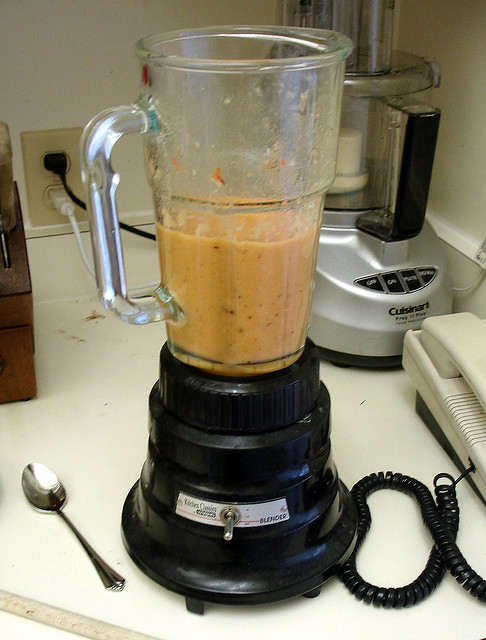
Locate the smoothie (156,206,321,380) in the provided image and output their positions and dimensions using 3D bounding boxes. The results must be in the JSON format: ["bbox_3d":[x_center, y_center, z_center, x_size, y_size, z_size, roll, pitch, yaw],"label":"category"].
[{"bbox_3d":[-0.013,-0.031,0.389,0.138,0.117,0.116,-6,22,-8],"label":"smoothie"}]

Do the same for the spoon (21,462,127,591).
[{"bbox_3d":[-0.166,0.157,0.520,0.044,0.030,0.234,-13,36,-28],"label":"spoon"}]
